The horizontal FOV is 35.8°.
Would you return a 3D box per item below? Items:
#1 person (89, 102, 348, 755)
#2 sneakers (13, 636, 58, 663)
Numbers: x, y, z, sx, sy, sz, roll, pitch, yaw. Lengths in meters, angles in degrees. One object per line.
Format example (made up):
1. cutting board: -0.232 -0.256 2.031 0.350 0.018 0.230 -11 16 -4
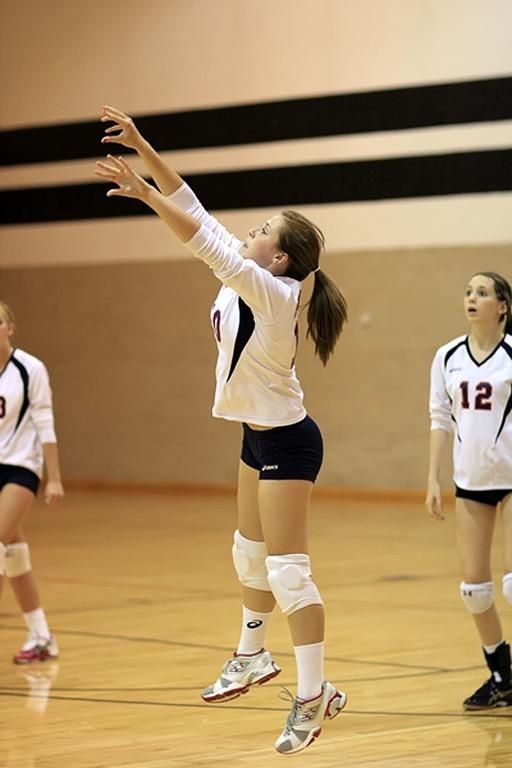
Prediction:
1. person: -0.045 0.122 2.024 0.553 1.636 0.727 -1 -2 5
2. sneakers: -0.778 0.955 2.843 0.167 0.068 0.061 1 -6 -29
